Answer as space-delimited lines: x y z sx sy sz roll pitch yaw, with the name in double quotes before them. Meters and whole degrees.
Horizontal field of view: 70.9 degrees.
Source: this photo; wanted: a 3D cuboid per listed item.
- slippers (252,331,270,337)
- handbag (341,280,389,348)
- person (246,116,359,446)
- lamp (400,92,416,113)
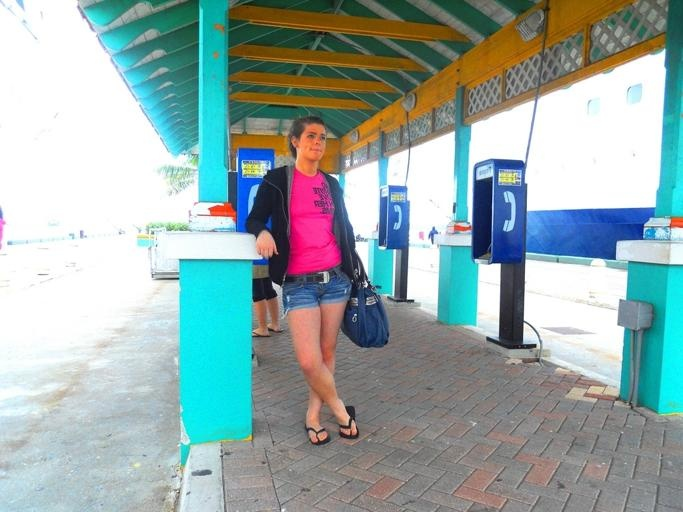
"slippers" -1.145 1.123 6.815 0.230 0.088 0.097 8 -3 5
"handbag" 0.172 0.433 3.986 0.322 0.591 0.606 -7 11 -15
"person" -0.297 0.180 3.719 1.032 2.539 0.668 2 -4 -33
"lamp" 1.272 -2.838 8.966 0.104 0.360 0.380 3 46 -32
